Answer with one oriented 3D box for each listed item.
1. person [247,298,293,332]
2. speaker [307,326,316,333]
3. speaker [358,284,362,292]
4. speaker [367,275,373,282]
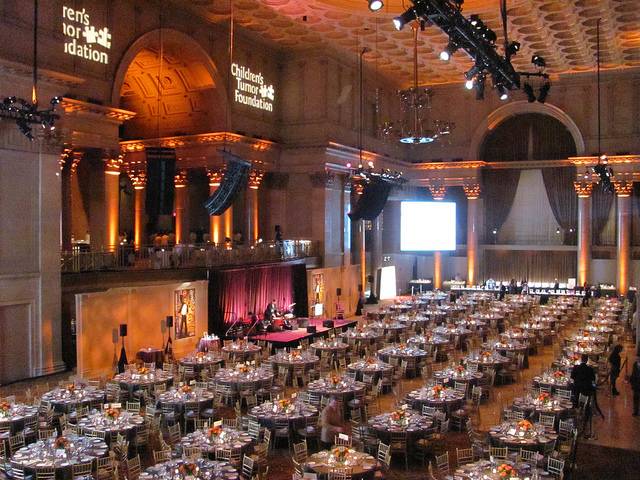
[{"bbox_3d":[-2.070,2.956,24.872,1.368,0.734,1.089,-3,-3,3],"label":"person"},{"bbox_3d":[-0.348,3.563,25.105,0.200,0.230,0.220,-2,-3,12],"label":"speaker"},{"bbox_3d":[2.042,2.427,32.344,0.224,0.487,0.241,1,-2,18],"label":"speaker"},{"bbox_3d":[2.922,2.205,35.848,0.280,0.594,0.291,4,5,38],"label":"speaker"}]
